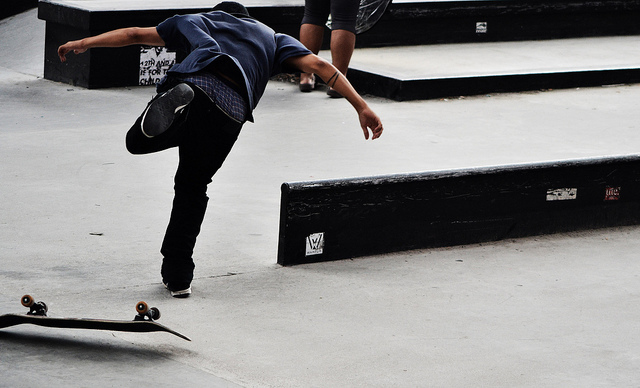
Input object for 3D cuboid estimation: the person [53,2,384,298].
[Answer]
[{"bbox_3d":[-0.612,-0.280,4.776,1.210,1.522,0.669,-9,23,-27],"label":"person"}]
